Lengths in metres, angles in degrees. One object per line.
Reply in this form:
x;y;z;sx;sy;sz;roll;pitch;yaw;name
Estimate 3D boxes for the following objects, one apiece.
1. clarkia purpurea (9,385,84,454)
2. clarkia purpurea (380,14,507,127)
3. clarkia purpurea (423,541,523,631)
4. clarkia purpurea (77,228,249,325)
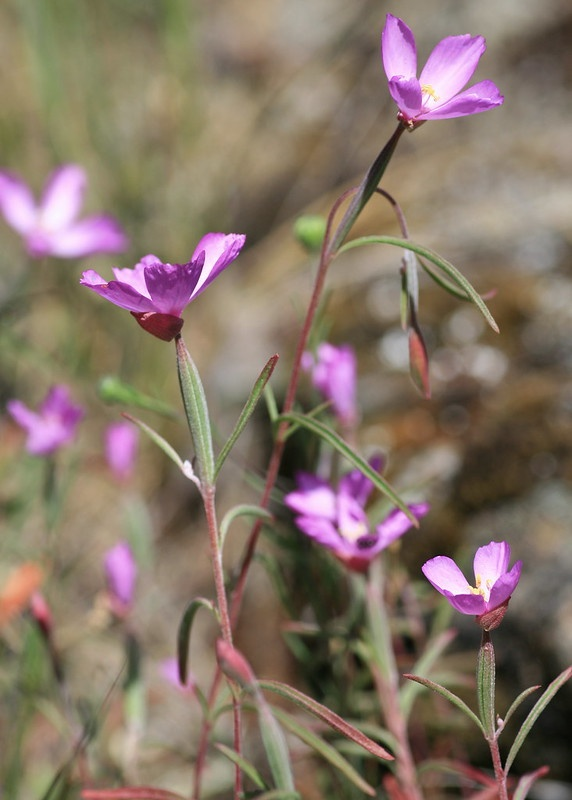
-0.172;0.019;0.591;0.057;0.047;0.023;6;-32;-19;clarkia purpurea
0.076;-0.164;0.420;0.065;0.036;0.052;21;-12;4;clarkia purpurea
0.093;0.101;0.402;0.049;0.035;0.048;13;-30;-26;clarkia purpurea
-0.060;-0.053;0.399;0.057;0.024;0.056;-19;1;-13;clarkia purpurea
